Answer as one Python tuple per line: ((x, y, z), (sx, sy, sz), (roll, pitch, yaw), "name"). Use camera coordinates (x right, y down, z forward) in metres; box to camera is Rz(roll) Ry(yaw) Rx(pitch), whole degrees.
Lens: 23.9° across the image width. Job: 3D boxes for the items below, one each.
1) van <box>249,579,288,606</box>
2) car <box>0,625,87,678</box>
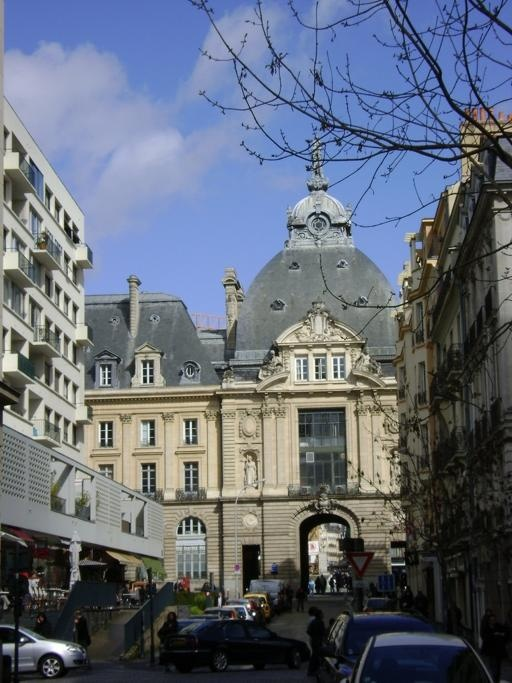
((0.572, 13.591, 65.277), (1.686, 1.706, 3.000), (-1, -3, 8), "van")
((-4.906, 7.156, 28.001), (2.510, 1.004, 1.231), (-1, -11, -3), "car")
